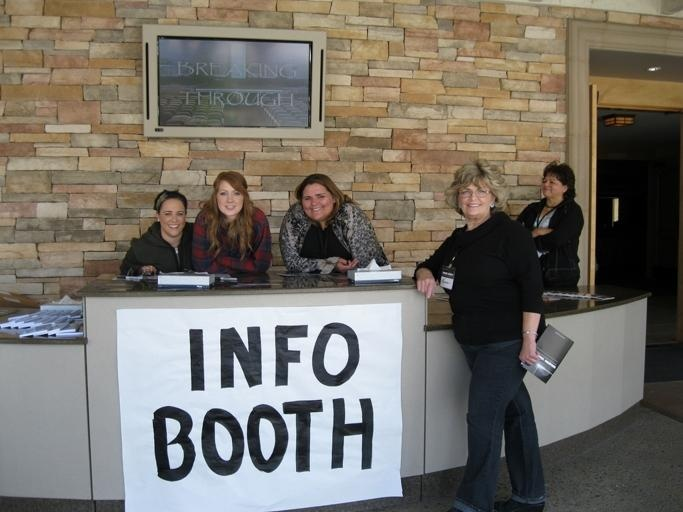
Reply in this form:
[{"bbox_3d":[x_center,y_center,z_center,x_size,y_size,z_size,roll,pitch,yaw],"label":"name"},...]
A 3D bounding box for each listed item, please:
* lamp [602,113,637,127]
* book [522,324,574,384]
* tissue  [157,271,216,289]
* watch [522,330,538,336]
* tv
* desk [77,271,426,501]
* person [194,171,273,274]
[{"bbox_3d":[3.677,-1.805,8.087,0.457,0.138,0.359,0,2,-32],"label":"lamp"},{"bbox_3d":[1.114,0.524,3.329,0.266,0.289,0.140,-5,7,-38],"label":"book"},{"bbox_3d":[-0.859,0.132,3.406,0.282,0.078,0.171,-1,4,1],"label":"tissue "},{"bbox_3d":[1.019,0.415,3.280,0.053,0.031,0.050,5,-4,-1],"label":"watch"},{"bbox_3d":[-0.964,-1.466,5.083,1.222,0.560,0.035,0,7,-6],"label":"tv"},{"bbox_3d":[-0.560,0.576,3.902,2.587,1.315,1.189,-1,8,-9],"label":"desk"},{"bbox_3d":[-0.749,-0.226,4.122,0.515,0.670,0.237,-2,6,-11],"label":"person"}]
